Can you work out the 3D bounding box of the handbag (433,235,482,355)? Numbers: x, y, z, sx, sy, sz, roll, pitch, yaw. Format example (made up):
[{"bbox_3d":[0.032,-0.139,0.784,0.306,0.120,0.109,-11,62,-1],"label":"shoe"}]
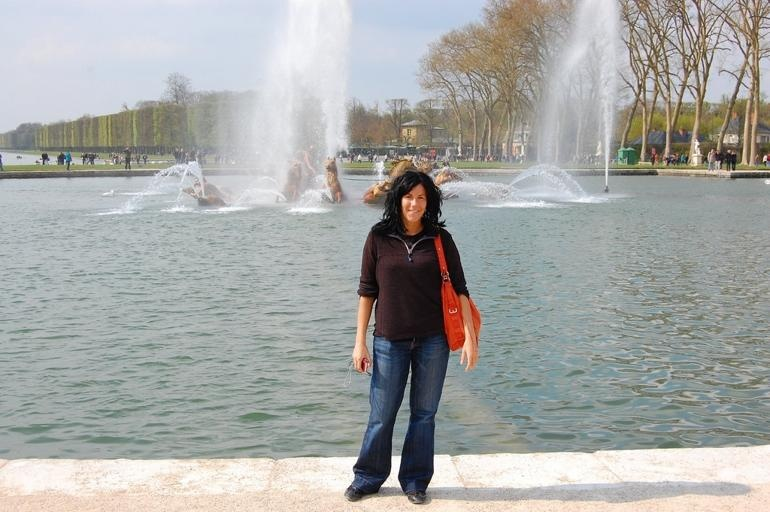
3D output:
[{"bbox_3d":[0.529,0.300,6.524,0.210,0.926,0.149,-3,6,5],"label":"handbag"}]

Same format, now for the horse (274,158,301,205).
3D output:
[{"bbox_3d":[-3.821,-3.012,32.398,1.066,1.653,0.514,0,7,29],"label":"horse"}]

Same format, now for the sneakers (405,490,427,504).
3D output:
[{"bbox_3d":[0.258,1.905,6.328,0.162,0.084,0.095,-2,6,4],"label":"sneakers"}]

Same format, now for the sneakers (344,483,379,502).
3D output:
[{"bbox_3d":[-0.192,1.881,6.333,0.104,0.096,0.274,-1,-9,40],"label":"sneakers"}]

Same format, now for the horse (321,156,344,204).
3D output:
[{"bbox_3d":[-2.022,-2.976,31.646,0.630,1.767,1.162,0,7,24],"label":"horse"}]

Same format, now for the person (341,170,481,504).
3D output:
[{"bbox_3d":[0.201,0.610,6.532,1.148,2.604,0.677,-4,6,-5],"label":"person"}]
